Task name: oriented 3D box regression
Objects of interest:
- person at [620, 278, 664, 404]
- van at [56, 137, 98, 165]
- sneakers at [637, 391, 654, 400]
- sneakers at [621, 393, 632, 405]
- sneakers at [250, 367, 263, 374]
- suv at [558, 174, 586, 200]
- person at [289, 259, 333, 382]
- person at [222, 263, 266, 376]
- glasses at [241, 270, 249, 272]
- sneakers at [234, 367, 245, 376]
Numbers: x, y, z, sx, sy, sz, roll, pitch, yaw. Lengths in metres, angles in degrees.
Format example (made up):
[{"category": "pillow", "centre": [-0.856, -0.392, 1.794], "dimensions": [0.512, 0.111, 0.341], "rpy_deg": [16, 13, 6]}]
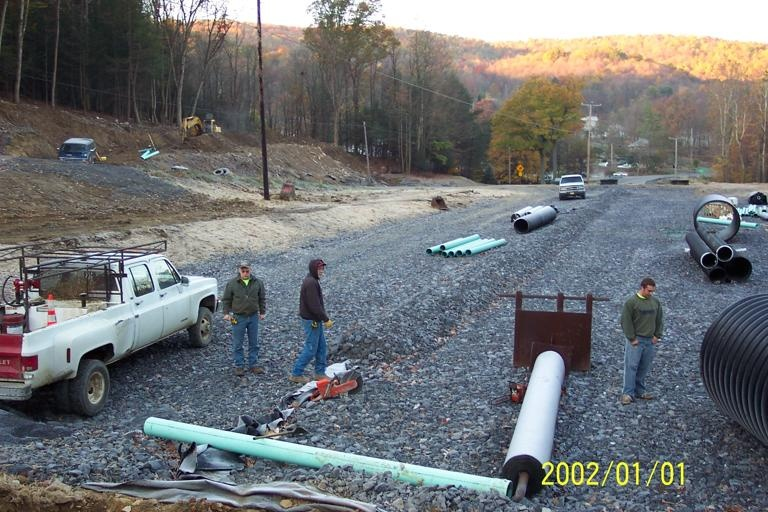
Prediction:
[{"category": "person", "centre": [5.452, 1.830, 12.774], "dimensions": [0.757, 2.706, 0.691], "rpy_deg": [5, 11, 24]}, {"category": "van", "centre": [-20.034, -6.926, 39.175], "dimensions": [1.879, 1.308, 3.291], "rpy_deg": [0, 7, -4]}, {"category": "sneakers", "centre": [5.636, 3.056, 12.988], "dimensions": [0.352, 0.129, 0.156], "rpy_deg": [-2, 21, 9]}, {"category": "sneakers", "centre": [5.174, 3.112, 12.806], "dimensions": [0.141, 0.112, 0.283], "rpy_deg": [-3, -2, 12]}, {"category": "sneakers", "centre": [-3.059, 2.783, 14.410], "dimensions": [0.301, 0.127, 0.133], "rpy_deg": [2, 8, 32]}, {"category": "suv", "centre": [15.056, -5.513, 48.276], "dimensions": [1.452, 1.231, 2.730], "rpy_deg": [-1, 2, 18]}, {"category": "person", "centre": [-1.692, 1.512, 13.848], "dimensions": [0.837, 2.864, 1.111], "rpy_deg": [-1, 10, -7]}, {"category": "person", "centre": [-3.347, 1.523, 14.323], "dimensions": [0.933, 2.673, 0.547], "rpy_deg": [-2, 10, -13]}, {"category": "glasses", "centre": [-3.277, 0.352, 14.059], "dimensions": [0.164, 0.069, 0.078], "rpy_deg": [0, 10, -2]}, {"category": "sneakers", "centre": [-3.467, 2.808, 14.414], "dimensions": [0.213, 0.195, 0.209], "rpy_deg": [-2, -2, 17]}]
